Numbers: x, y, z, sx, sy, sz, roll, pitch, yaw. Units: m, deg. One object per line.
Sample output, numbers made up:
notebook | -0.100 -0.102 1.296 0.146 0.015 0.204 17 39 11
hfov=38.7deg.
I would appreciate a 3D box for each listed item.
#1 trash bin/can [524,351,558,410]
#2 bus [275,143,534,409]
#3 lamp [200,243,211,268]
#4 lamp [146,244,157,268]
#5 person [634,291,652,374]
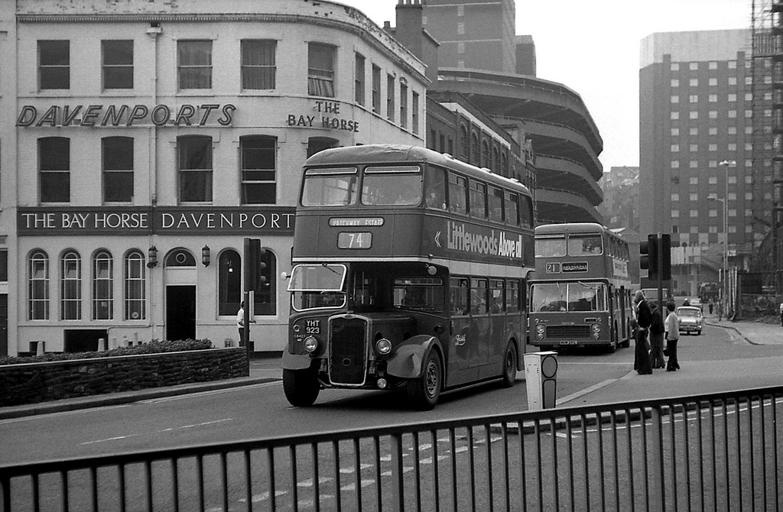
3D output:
trash bin/can | 3.604 3.026 26.886 0.757 1.380 1.193 -1 -4 6
bus | 0.524 0.836 31.922 3.362 5.429 8.860 -1 -3 24
lamp | -7.993 0.043 47.739 0.400 0.978 0.299 -1 -4 -3
lamp | -10.253 0.078 47.646 0.424 0.966 0.333 0 -4 -6
person | 8.338 2.533 36.916 0.595 2.713 1.131 -2 -4 12
